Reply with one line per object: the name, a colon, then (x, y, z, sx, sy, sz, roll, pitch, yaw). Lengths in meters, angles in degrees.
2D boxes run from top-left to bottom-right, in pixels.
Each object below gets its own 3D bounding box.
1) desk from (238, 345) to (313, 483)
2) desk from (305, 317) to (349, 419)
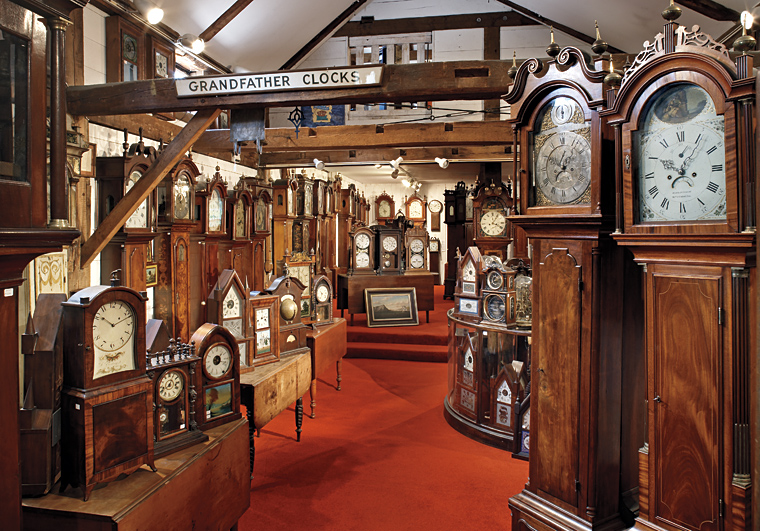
desk: (-1.025, 1.366, 5.728, 0.297, 0.930, 0.982, 6, 10, 19)
desk: (-0.701, 1.129, 7.217, 0.304, 0.865, 0.931, 4, 9, 19)
